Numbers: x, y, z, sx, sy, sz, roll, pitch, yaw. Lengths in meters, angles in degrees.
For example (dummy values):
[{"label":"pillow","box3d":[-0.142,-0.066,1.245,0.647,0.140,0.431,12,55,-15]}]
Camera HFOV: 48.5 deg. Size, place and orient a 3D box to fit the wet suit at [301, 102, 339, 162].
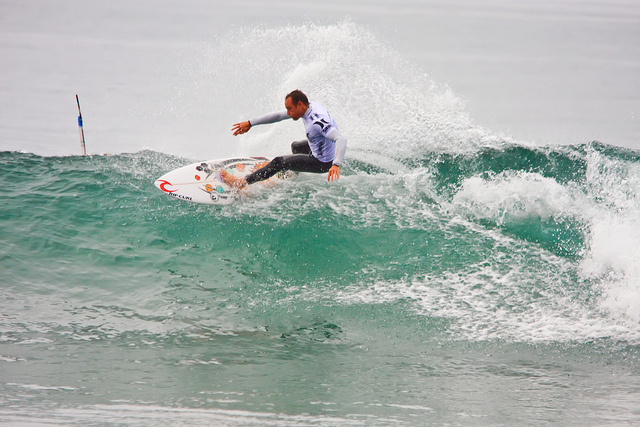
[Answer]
[{"label":"wet suit","box3d":[-0.040,-1.621,14.041,0.698,1.199,0.923,3,3,-2]}]
